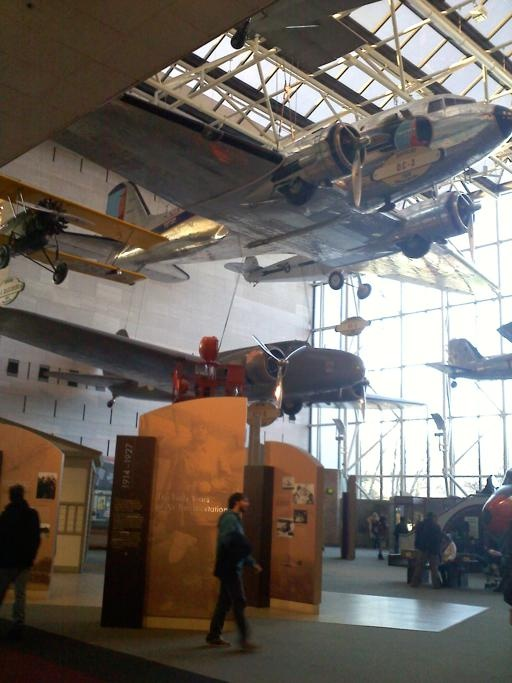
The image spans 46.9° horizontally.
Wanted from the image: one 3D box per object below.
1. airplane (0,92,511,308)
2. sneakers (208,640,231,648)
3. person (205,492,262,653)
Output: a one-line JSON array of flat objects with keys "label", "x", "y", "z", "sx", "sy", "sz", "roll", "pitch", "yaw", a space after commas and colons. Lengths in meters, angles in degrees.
[{"label": "airplane", "x": -0.094, "y": -2.795, "z": 11.690, "sx": 5.974, "sy": 1.604, "sz": 6.441, "roll": -1, "pitch": -5, "yaw": 39}, {"label": "sneakers", "x": -0.293, "y": 2.364, "z": 4.618, "sx": 0.174, "sy": 0.068, "sz": 0.060, "roll": -1, "pitch": -9, "yaw": 4}, {"label": "person", "x": -0.160, "y": 1.791, "z": 4.580, "sx": 0.389, "sy": 1.186, "sz": 0.696, "roll": 7, "pitch": -14, "yaw": -1}]
